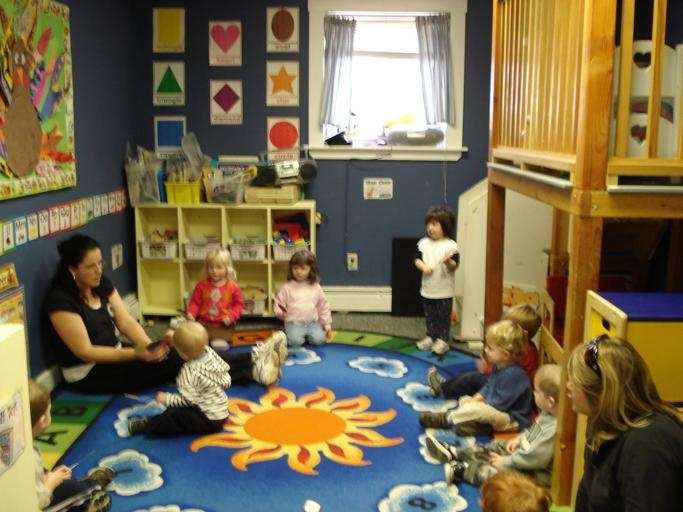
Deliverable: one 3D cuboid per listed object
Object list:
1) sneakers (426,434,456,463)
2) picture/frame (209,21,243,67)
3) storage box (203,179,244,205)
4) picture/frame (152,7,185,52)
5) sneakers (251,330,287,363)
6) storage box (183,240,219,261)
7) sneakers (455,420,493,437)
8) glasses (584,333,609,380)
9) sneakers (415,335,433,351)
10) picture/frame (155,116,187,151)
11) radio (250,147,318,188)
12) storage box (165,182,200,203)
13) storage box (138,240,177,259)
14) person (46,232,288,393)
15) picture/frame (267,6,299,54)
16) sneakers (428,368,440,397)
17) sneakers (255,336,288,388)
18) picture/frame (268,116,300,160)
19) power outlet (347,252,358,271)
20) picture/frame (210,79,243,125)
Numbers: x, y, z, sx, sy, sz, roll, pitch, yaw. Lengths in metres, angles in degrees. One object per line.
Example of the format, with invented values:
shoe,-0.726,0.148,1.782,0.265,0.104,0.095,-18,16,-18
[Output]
sneakers,0.463,0.897,2.487,0.052,0.067,0.139,-6,27,-30
picture/frame,-0.919,-1.698,4.201,0.274,0.404,0.038,1,4,0
storage box,-0.881,-0.483,4.018,0.240,0.154,0.174,-2,3,2
picture/frame,-1.364,-1.804,4.179,0.263,0.380,0.034,0,5,-3
sneakers,-0.445,0.589,3.286,0.139,0.172,0.222,14,19,33
storage box,-1.080,-0.049,4.038,0.215,0.097,0.180,0,5,-4
sneakers,0.658,0.866,2.658,0.116,0.052,0.087,1,-1,1
glasses,0.737,0.293,1.563,0.039,0.107,0.079,-21,3,-32
sneakers,0.571,0.599,3.667,0.104,0.080,0.070,2,7,1
picture/frame,-1.380,-1.007,4.283,0.263,0.341,0.022,1,8,-7
radio,-0.471,-0.680,4.147,0.527,0.261,0.197,-2,14,-11
storage box,-1.205,-0.477,4.077,0.169,0.119,0.182,-1,7,-3
storage box,-1.396,-0.054,4.029,0.196,0.094,0.152,0,4,-10
person,-0.976,0.351,3.367,1.446,1.051,0.693,3,6,-1
picture/frame,-0.462,-1.801,4.172,0.281,0.366,0.024,1,7,-1
sneakers,0.532,0.728,3.048,0.061,0.161,0.057,-10,-10,31
sneakers,-0.431,0.604,3.240,0.108,0.146,0.323,18,23,-14
picture/frame,-0.462,-0.964,4.276,0.312,0.478,0.049,0,1,-1
power outlet,0.090,0.048,4.457,0.108,0.164,0.022,1,13,0
picture/frame,-0.928,-1.258,4.266,0.278,0.390,0.038,0,3,-3
